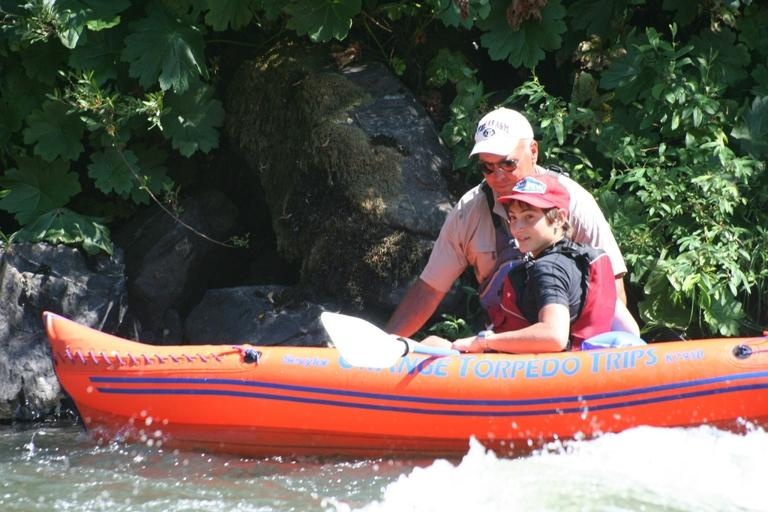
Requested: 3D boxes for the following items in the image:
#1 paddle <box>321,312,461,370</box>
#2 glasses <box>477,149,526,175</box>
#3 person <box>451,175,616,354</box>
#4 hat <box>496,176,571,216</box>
[{"bbox_3d":[0.040,0.611,7.571,1.044,0.505,0.199,4,4,-11],"label":"paddle"},{"bbox_3d":[0.876,-0.705,7.926,0.304,0.137,0.092,4,-3,14],"label":"glasses"},{"bbox_3d":[1.222,0.158,7.921,0.991,1.546,1.022,3,-7,-38],"label":"person"},{"bbox_3d":[1.158,-0.459,7.644,0.355,0.223,0.301,10,-7,-16],"label":"hat"}]
